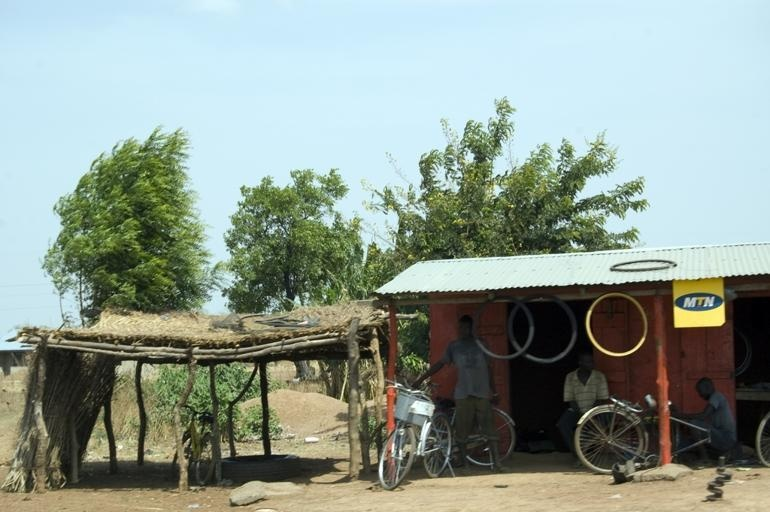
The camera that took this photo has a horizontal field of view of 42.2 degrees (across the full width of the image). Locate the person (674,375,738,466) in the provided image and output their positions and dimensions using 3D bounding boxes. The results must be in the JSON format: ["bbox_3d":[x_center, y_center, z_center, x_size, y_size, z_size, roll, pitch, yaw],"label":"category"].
[{"bbox_3d":[6.961,3.509,21.645,1.206,1.763,0.725,-4,-8,18],"label":"person"}]
